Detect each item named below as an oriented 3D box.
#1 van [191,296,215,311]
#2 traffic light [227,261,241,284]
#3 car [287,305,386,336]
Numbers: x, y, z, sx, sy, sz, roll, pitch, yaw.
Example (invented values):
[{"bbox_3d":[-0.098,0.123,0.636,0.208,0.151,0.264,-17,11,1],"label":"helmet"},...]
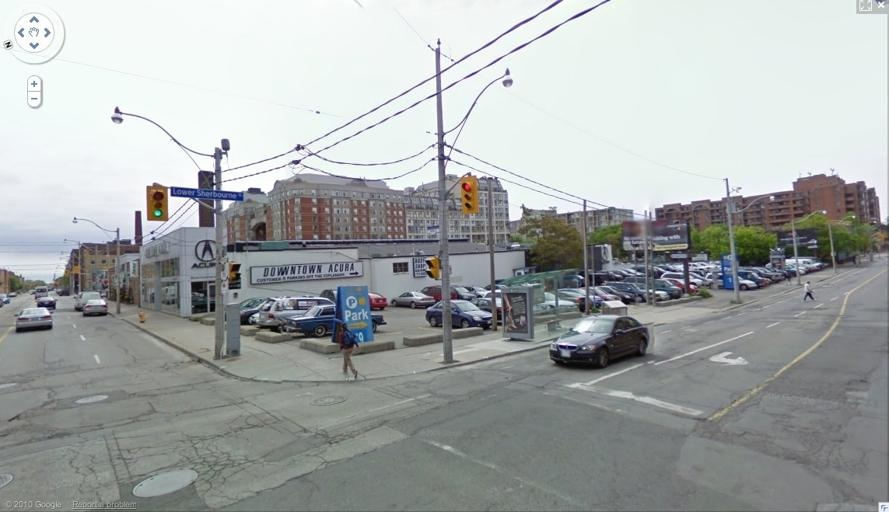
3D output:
[{"bbox_3d":[-20.544,4.075,48.525,1.244,0.833,2.132,-8,-10,34],"label":"van"},{"bbox_3d":[-10.419,0.872,28.448,0.527,1.007,0.836,-4,4,-27],"label":"traffic light"},{"bbox_3d":[-7.517,3.857,32.983,5.746,1.745,2.167,1,-1,-33],"label":"car"}]
